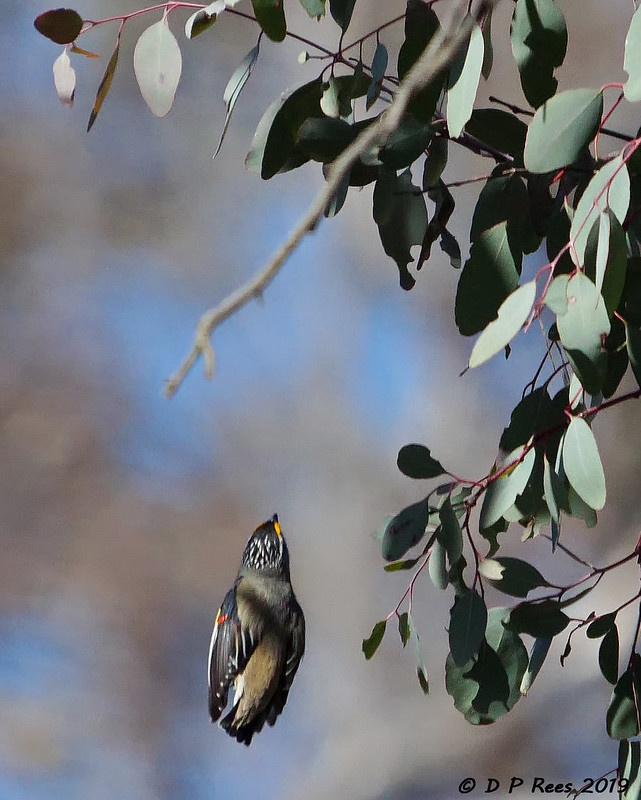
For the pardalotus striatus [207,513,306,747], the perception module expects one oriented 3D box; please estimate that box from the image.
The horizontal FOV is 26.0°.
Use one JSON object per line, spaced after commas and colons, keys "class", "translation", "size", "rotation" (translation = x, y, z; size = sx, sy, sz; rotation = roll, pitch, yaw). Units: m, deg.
{"class": "pardalotus striatus", "translation": [-0.087, 0.357, 2.012], "size": [0.112, 0.182, 0.348], "rotation": [10, 24, -3]}
